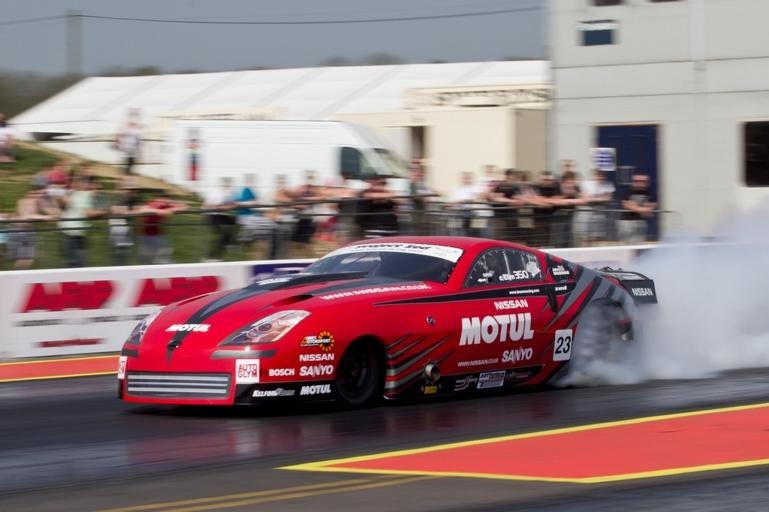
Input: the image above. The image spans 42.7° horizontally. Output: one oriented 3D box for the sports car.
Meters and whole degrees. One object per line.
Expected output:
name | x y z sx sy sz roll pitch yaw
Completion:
sports car | 0.080 0.622 9.660 4.738 1.543 1.288 0 12 -28
